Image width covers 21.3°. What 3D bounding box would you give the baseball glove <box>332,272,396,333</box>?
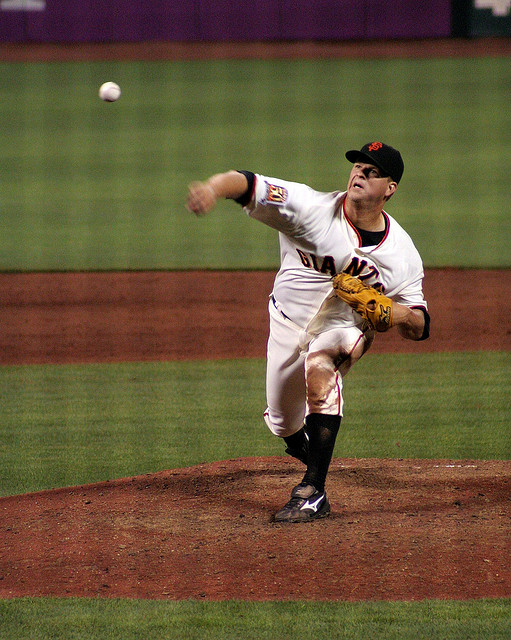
[{"bbox_3d":[0.616,-0.081,8.019,0.402,0.182,0.250,40,34,16],"label":"baseball glove"}]

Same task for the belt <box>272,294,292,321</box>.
[{"bbox_3d":[0.174,-0.072,8.314,0.108,0.027,0.115,55,9,26],"label":"belt"}]
